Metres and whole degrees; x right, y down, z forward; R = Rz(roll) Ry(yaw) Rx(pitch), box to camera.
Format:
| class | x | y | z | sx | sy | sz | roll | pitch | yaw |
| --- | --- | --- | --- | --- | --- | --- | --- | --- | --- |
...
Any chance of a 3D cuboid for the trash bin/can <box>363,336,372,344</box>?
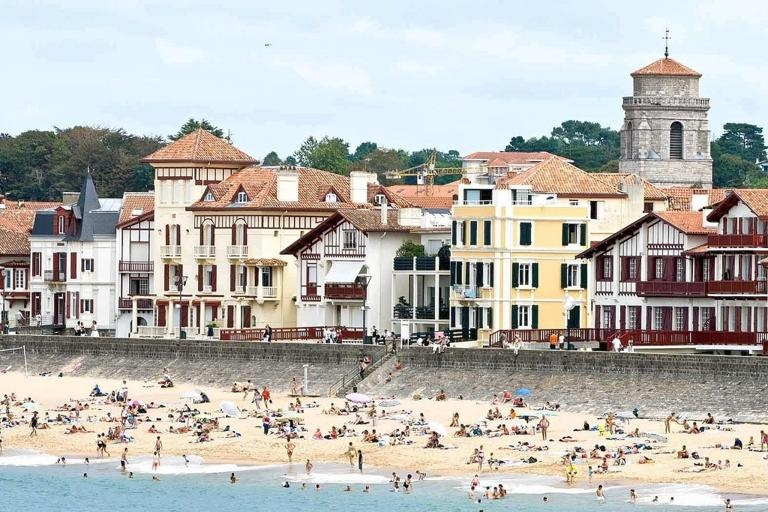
| class | x | y | z | sx | sy | sz | roll | pitch | yaw |
| --- | --- | --- | --- | --- | --- | --- | --- | --- | --- |
| trash bin/can | -1.211 | 6.099 | 145.428 | 0.503 | 0.427 | 0.838 | 3 | -3 | -1 |

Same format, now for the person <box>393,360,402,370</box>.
| class | x | y | z | sx | sy | sz | roll | pitch | yaw |
| --- | --- | --- | --- | --- | --- | --- | --- | --- | --- |
| person | 0.916 | 7.481 | 138.910 | 0.709 | 0.649 | 0.439 | 1 | -13 | 0 |

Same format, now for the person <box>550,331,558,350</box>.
| class | x | y | z | sx | sy | sz | roll | pitch | yaw |
| --- | --- | --- | --- | --- | --- | --- | --- | --- | --- |
| person | 11.463 | 5.763 | 139.332 | 0.555 | 1.171 | 1.525 | 1 | -5 | 3 |
